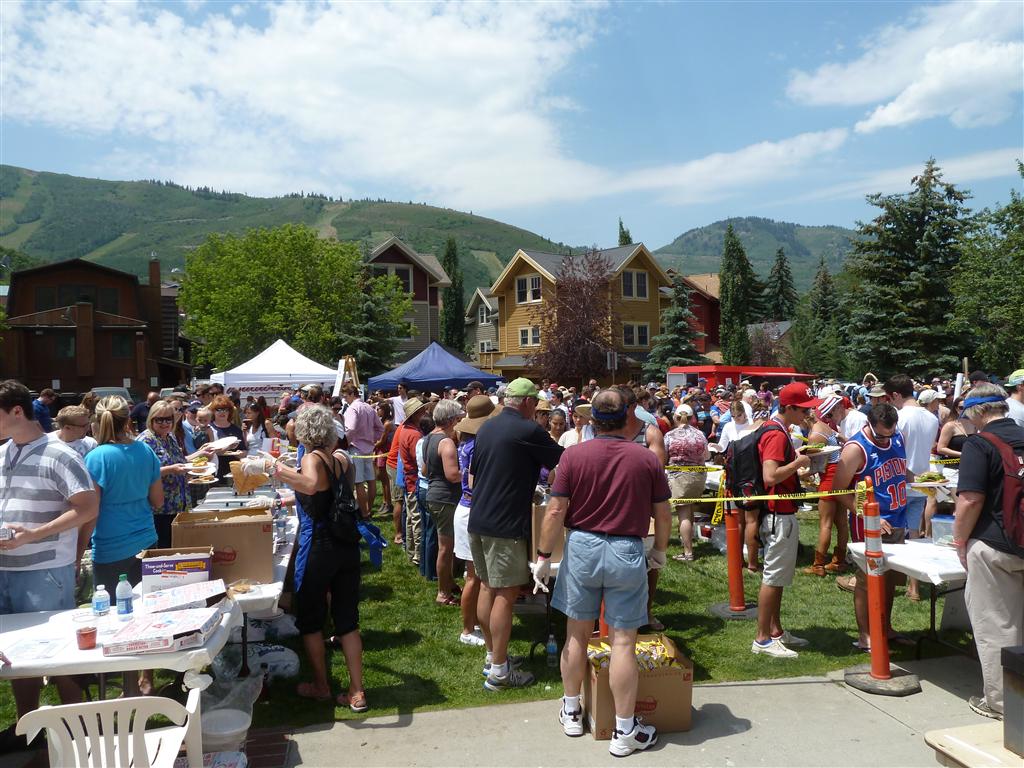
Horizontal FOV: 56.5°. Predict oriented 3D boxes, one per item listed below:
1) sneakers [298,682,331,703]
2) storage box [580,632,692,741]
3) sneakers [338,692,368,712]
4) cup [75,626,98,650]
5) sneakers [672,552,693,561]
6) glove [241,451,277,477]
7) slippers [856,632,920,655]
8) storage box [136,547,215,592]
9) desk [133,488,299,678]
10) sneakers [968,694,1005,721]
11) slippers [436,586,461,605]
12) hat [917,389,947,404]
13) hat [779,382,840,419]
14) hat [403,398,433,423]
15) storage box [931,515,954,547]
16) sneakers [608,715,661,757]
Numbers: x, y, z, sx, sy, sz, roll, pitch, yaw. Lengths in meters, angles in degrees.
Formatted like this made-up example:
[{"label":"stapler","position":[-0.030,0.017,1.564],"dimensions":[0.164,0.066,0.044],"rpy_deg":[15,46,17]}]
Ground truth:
[{"label":"sneakers","position":[-1.646,2.527,7.894],"dimensions":[0.264,0.106,0.122],"rpy_deg":[10,0,28]},{"label":"storage box","position":[0.983,2.328,7.528],"dimensions":[0.843,0.522,0.947],"rpy_deg":[-2,6,1]},{"label":"sneakers","position":[-1.293,2.571,7.745],"dimensions":[0.099,0.115,0.265],"rpy_deg":[5,0,-43]},{"label":"cup","position":[-2.761,1.648,6.187],"dimensions":[0.128,0.120,0.129],"rpy_deg":[0,7,0]},{"label":"sneakers","position":[2.091,2.122,11.720],"dimensions":[0.098,0.108,0.235],"rpy_deg":[9,-6,-44]},{"label":"glove","position":[-2.244,0.720,8.464],"dimensions":[0.276,0.203,0.355],"rpy_deg":[7,-7,-29]},{"label":"slippers","position":[3.408,2.356,8.678],"dimensions":[0.619,0.250,0.206],"rpy_deg":[-4,-2,5]},{"label":"storage box","position":[-2.456,1.359,6.962],"dimensions":[0.520,0.280,0.402],"rpy_deg":[-4,6,-19]},{"label":"desk","position":[-2.200,1.263,7.431],"dimensions":[1.221,1.071,1.667],"rpy_deg":[0,1,-6]},{"label":"sneakers","position":[3.620,2.467,7.256],"dimensions":[0.095,0.119,0.237],"rpy_deg":[-7,3,-26]},{"label":"slippers","position":[-0.635,2.292,10.245],"dimensions":[0.324,0.132,0.102],"rpy_deg":[-5,-5,8]},{"label":"hat","position":[6.241,0.183,14.151],"dimensions":[0.320,0.104,0.212],"rpy_deg":[-15,9,-24]},{"label":"hat","position":[2.707,0.142,8.677],"dimensions":[0.533,0.259,0.354],"rpy_deg":[-2,5,7]},{"label":"hat","position":[-1.199,0.359,11.826],"dimensions":[0.336,0.143,0.372],"rpy_deg":[-29,-3,-14]},{"label":"storage box","position":[3.797,1.280,8.347],"dimensions":[0.183,0.301,0.322],"rpy_deg":[1,-8,0]},{"label":"sneakers","position":[0.919,2.557,6.981],"dimensions":[0.464,0.207,0.182],"rpy_deg":[-8,8,-44]}]
